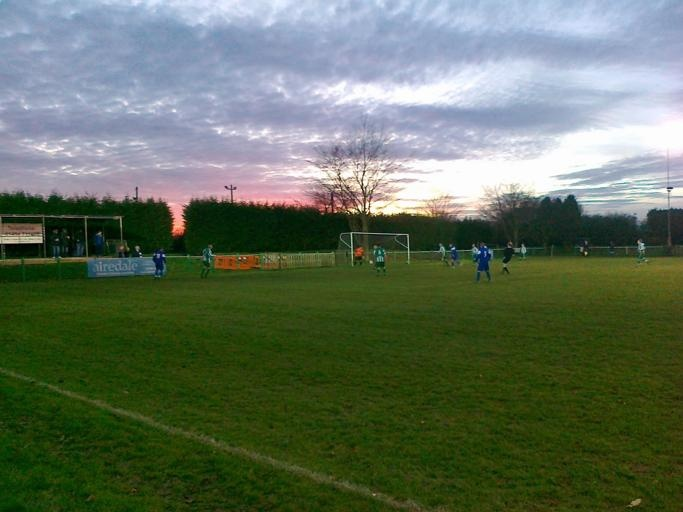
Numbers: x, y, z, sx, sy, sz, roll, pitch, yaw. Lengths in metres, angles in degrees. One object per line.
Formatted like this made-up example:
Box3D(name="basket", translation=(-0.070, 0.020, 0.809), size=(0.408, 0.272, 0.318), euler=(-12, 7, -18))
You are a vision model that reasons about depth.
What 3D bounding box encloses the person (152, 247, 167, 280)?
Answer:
Box3D(name="person", translation=(-9.215, 0.362, 30.993), size=(0.498, 1.357, 1.691), euler=(-1, 0, -19))
